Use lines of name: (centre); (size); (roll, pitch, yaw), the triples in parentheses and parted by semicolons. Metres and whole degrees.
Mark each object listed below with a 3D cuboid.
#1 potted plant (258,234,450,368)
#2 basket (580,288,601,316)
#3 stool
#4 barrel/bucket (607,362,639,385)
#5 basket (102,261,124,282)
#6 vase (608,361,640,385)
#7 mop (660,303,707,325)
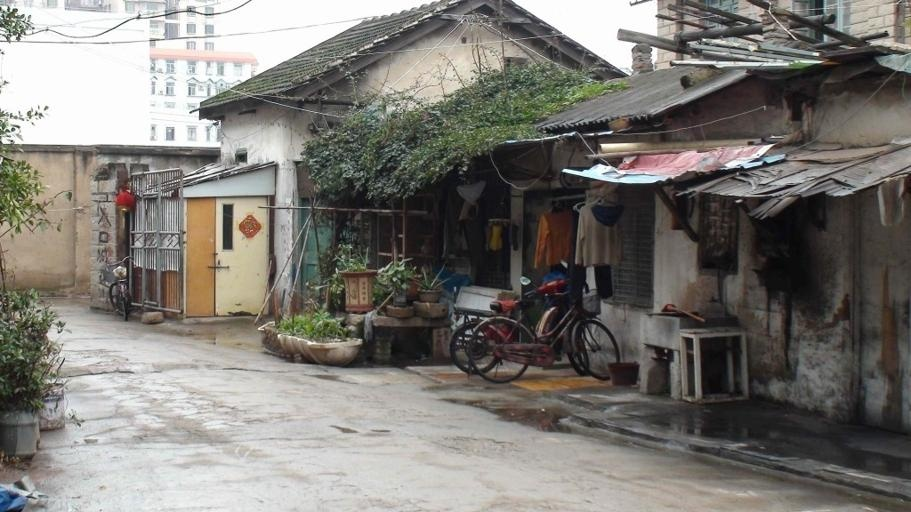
potted plant: (-2.297, 1.064, 22.262); (2.845, 1.678, 2.943); (0, -2, -24)
basket: (2.776, 0.948, 20.045); (0.352, 0.530, 0.567); (2, -3, 8)
stool: (4.820, 2.011, 18.214); (1.570, 1.576, 1.182); (-1, 0, -14)
barrel/bucket: (3.345, 2.348, 19.549); (0.583, 0.338, 0.431); (-1, -9, -3)
basket: (-9.523, 0.478, 27.371); (0.491, 0.582, 1.130); (4, -3, -28)
vase: (3.341, 2.349, 19.388); (0.596, 0.350, 0.441); (0, -8, -3)
mop: (4.333, 1.118, 18.513); (0.597, 0.161, 0.392); (15, 5, 42)
